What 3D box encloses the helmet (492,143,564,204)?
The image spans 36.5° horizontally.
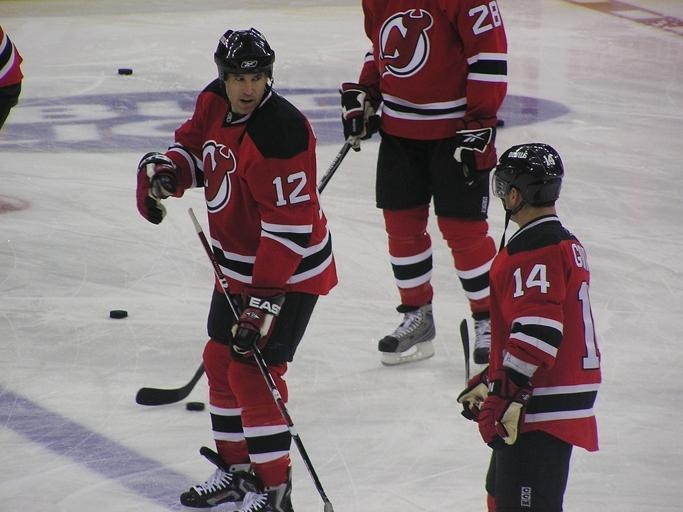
[{"bbox_3d":[0.761,-0.319,4.053,0.231,0.201,0.282,-5,16,-27],"label":"helmet"}]

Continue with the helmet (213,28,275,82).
[{"bbox_3d":[-0.395,-0.838,4.286,0.226,0.188,0.245,-4,9,-9],"label":"helmet"}]

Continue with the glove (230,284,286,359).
[{"bbox_3d":[-0.308,0.272,4.252,0.212,0.284,0.121,25,-12,18],"label":"glove"}]

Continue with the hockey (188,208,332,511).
[{"bbox_3d":[-0.336,0.473,4.416,0.075,1.493,0.083,-32,9,-24],"label":"hockey"}]

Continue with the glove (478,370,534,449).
[{"bbox_3d":[0.580,0.561,3.848,0.134,0.215,0.295,27,30,15],"label":"glove"}]

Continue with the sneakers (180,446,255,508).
[{"bbox_3d":[-0.507,0.957,4.425,0.429,0.239,0.168,-1,1,-6],"label":"sneakers"}]

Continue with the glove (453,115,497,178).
[{"bbox_3d":[0.569,-0.527,5.001,0.302,0.334,0.272,-1,17,2],"label":"glove"}]
